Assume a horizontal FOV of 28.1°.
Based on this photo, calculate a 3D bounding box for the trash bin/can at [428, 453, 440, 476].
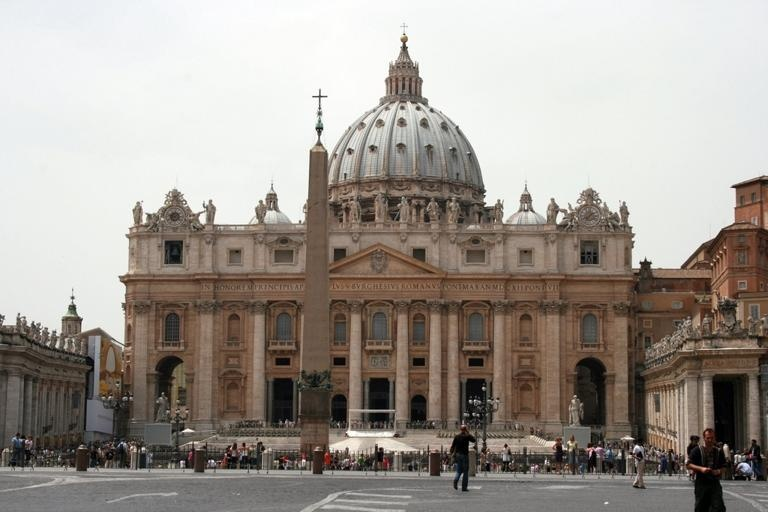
[{"bbox_3d":[3.174,13.366,98.386,0.615,1.562,0.644,3,-17,-8],"label":"trash bin/can"}]
